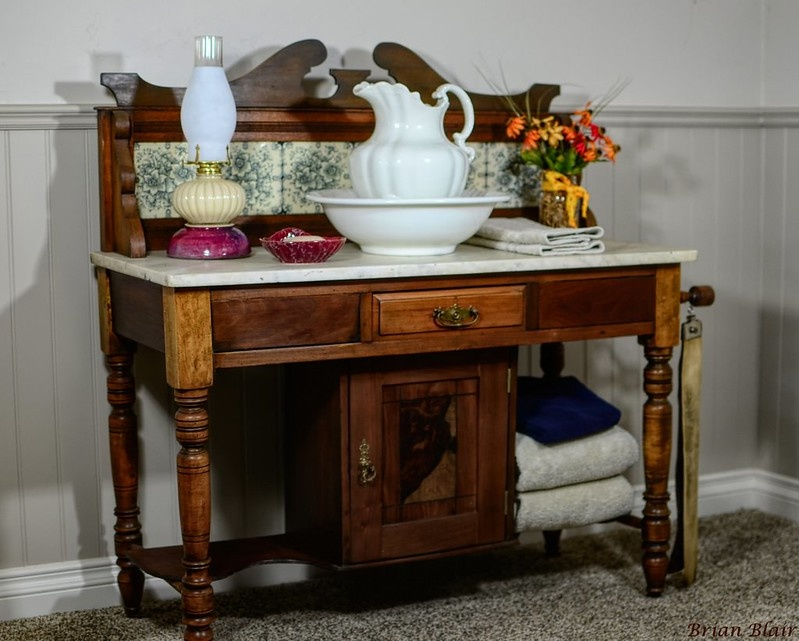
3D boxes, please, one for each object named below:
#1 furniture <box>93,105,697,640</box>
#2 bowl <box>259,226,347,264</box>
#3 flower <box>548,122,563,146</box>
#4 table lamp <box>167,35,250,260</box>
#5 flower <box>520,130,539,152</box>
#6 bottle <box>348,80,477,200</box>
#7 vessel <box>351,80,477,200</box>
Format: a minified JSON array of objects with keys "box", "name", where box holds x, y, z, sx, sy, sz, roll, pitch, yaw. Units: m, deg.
[{"box":[-0.060,0.151,1.948,1.522,1.238,0.527,-3,7,-25],"name":"furniture"},{"box":[-0.209,-0.156,1.705,0.132,0.058,0.133,0,8,0],"name":"bowl"},{"box":[0.429,-0.505,2.103,0.057,0.053,0.016,-6,-7,28],"name":"flower"},{"box":[-0.439,-0.404,1.803,0.176,0.515,0.178,1,8,13],"name":"table lamp"},{"box":[0.362,-0.492,2.145,0.053,0.051,0.021,1,-32,44],"name":"flower"},{"box":[0.030,-0.443,1.965,0.352,0.307,0.282,-2,14,-14],"name":"bottle"},{"box":[0.033,-0.442,1.961,0.353,0.305,0.284,0,15,-8],"name":"vessel"}]
